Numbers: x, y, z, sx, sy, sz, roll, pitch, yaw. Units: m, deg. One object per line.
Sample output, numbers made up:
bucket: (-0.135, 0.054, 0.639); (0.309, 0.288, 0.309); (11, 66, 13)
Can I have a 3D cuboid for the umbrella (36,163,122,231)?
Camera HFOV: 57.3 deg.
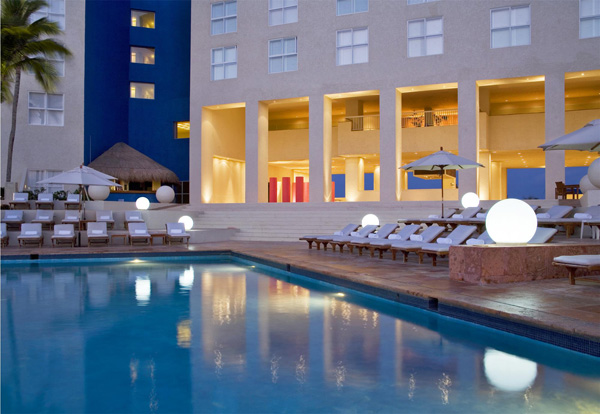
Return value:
umbrella: (-8.496, -0.556, 20.631); (2.630, 1.885, 2.669); (2, 1, 13)
